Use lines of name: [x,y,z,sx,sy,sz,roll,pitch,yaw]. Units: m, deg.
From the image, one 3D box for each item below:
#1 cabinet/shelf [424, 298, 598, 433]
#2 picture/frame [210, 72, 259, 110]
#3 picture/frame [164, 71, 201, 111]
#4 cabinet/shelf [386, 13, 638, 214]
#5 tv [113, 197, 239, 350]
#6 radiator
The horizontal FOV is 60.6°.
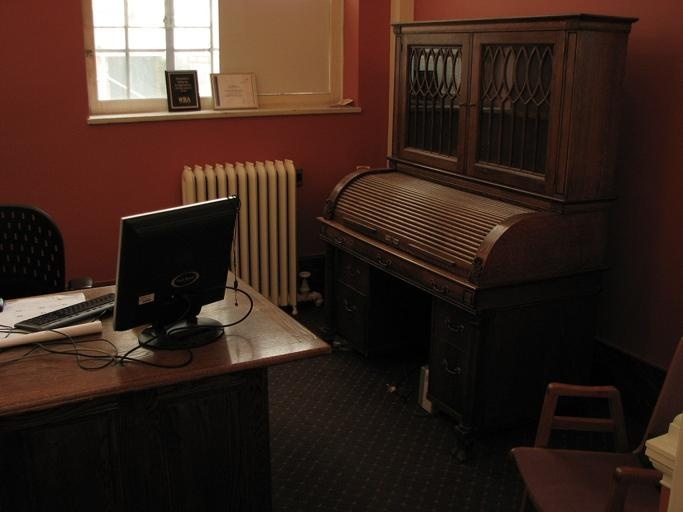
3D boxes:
cabinet/shelf: [0.862,0.562,3.414,0.615,0.688,0.390,-6,14,-32]
picture/frame: [-0.839,-1.307,4.614,0.309,0.326,0.076,-7,1,-19]
picture/frame: [-1.221,-1.293,4.516,0.246,0.335,0.036,-6,40,-14]
cabinet/shelf: [0.934,-0.920,3.618,0.506,1.043,1.452,-11,21,-33]
tv: [-0.671,0.097,2.417,0.523,0.547,0.294,-13,30,-35]
radiator: [-0.589,-0.176,3.842,1.029,1.545,0.244,-5,12,-29]
